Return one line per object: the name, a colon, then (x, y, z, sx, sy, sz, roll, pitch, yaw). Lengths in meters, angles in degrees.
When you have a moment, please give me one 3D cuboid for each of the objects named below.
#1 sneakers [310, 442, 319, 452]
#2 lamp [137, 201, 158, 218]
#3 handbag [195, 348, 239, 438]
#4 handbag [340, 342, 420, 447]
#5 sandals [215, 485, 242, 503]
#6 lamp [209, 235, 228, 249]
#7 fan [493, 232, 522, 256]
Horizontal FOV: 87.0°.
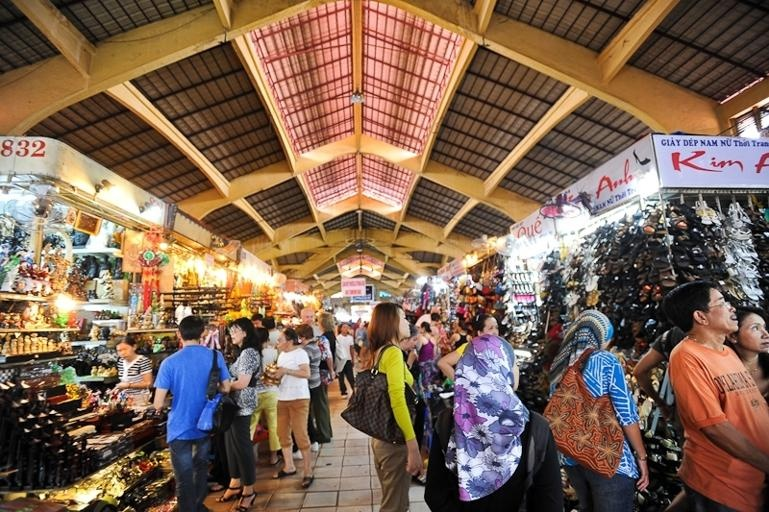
sneakers: (-0.956, 2.664, 5.629, 0.136, 0.192, 0.198, 0, -27, -8)
lamp: (-3.709, -0.737, 6.362, 0.117, 0.173, 0.182, -11, 21, 19)
handbag: (-1.564, 1.295, 3.770, 0.393, 0.868, 0.776, 1, -30, -14)
handbag: (-0.074, 1.085, 3.164, 0.477, 0.758, 0.206, 1, -15, -3)
sandals: (-1.673, 2.557, 4.347, 0.262, 0.117, 0.128, 1, -13, -10)
lamp: (-3.532, -0.277, 8.602, 0.071, 0.275, 0.301, -12, -23, 34)
fan: (1.825, -0.147, 5.998, 0.224, 0.391, 0.431, 5, -14, -18)
